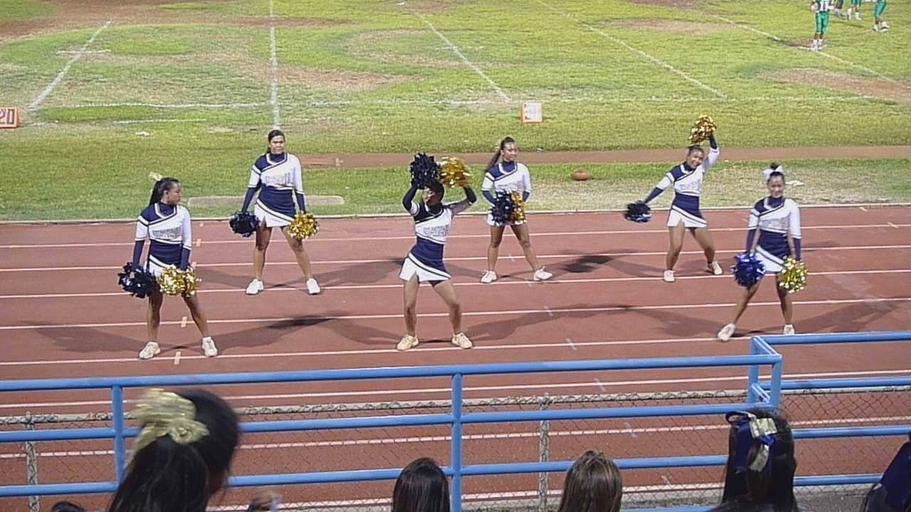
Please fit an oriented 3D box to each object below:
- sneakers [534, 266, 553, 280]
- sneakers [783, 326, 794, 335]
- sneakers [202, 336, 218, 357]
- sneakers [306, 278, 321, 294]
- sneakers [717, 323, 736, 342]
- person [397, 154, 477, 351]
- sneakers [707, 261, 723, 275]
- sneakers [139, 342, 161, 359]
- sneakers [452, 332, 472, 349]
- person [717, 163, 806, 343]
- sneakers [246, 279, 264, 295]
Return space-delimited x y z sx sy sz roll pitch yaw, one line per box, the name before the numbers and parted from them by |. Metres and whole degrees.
sneakers | 1.861 0.396 23.072 0.387 0.140 0.234 1 35 26
sneakers | 6.561 1.468 20.886 0.209 0.231 0.142 -2 2 -3
sneakers | -4.786 1.765 20.617 0.249 0.177 0.464 -9 22 -28
sneakers | -3.024 0.642 22.548 0.243 0.160 0.403 -5 34 -15
sneakers | 5.403 1.525 21.064 0.281 0.130 0.434 21 64 38
person | -0.476 -0.095 20.542 1.481 3.912 0.998 -4 16 -15
sneakers | 5.736 0.266 23.438 0.174 0.170 0.419 42 10 -17
sneakers | -5.962 1.831 20.552 0.231 0.185 0.489 3 8 9
sneakers | 0.152 1.662 20.862 0.244 0.174 0.460 -32 38 -32
person | 6.140 -0.080 20.841 1.492 3.434 1.076 -9 18 -29
sneakers | -4.277 0.653 22.568 0.225 0.173 0.465 2 10 14
